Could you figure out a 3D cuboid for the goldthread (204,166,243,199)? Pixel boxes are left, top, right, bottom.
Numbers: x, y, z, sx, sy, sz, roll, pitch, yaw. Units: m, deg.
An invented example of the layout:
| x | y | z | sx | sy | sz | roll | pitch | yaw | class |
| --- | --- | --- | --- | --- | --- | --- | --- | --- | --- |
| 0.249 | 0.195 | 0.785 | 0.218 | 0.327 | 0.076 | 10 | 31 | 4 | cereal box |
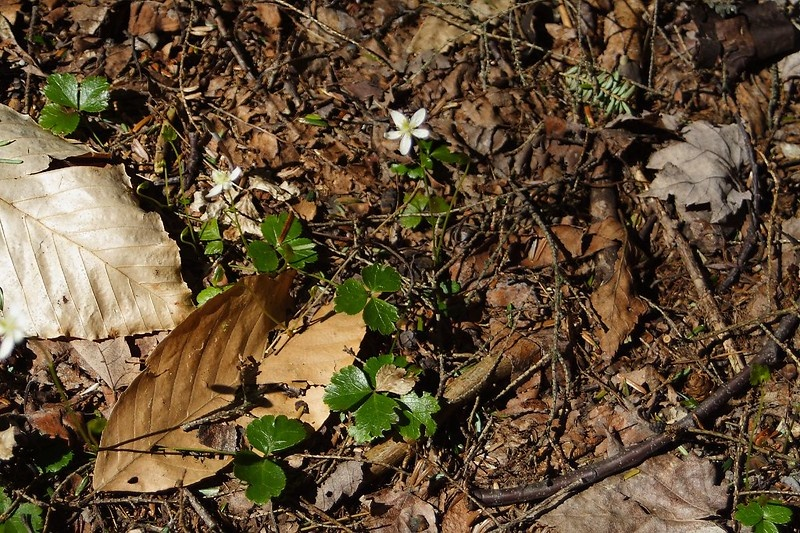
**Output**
| x | y | z | sx | sy | sz | roll | pitch | yaw | class |
| --- | --- | --- | --- | --- | --- | --- | --- | --- | --- |
| -1.216 | -0.578 | 5.339 | 0.230 | 0.070 | 0.236 | -16 | 50 | 45 | goldthread |
